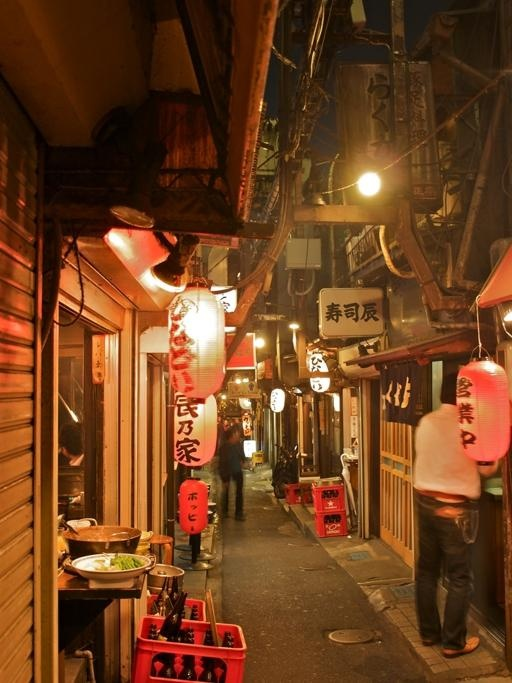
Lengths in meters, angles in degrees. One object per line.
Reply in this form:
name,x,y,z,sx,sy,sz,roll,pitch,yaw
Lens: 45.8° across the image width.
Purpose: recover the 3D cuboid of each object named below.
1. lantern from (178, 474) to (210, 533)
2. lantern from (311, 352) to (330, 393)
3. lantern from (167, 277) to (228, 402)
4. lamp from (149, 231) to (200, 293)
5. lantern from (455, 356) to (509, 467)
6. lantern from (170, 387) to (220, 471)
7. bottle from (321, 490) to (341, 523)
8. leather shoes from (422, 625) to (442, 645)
lantern,-1.169,3.136,11.458,0.555,1.041,0.598,-5,-7,-7
lantern,1.742,0.863,16.441,0.620,1.078,0.259,-1,2,15
lantern,-0.588,-0.029,6.011,0.573,1.169,0.356,-5,-7,-4
lamp,-0.738,-0.725,5.587,0.424,0.639,0.680,11,-2,-9
lantern,2.572,0.772,6.831,0.559,1.121,0.316,-7,-7,14
lantern,-1.001,1.392,9.972,0.899,1.302,0.760,-2,-2,9
bottle,1.887,4.077,15.078,0.470,0.733,0.116,-2,-8,-24
leather shoes,2.262,3.798,7.805,0.128,0.156,0.380,-1,-3,19
